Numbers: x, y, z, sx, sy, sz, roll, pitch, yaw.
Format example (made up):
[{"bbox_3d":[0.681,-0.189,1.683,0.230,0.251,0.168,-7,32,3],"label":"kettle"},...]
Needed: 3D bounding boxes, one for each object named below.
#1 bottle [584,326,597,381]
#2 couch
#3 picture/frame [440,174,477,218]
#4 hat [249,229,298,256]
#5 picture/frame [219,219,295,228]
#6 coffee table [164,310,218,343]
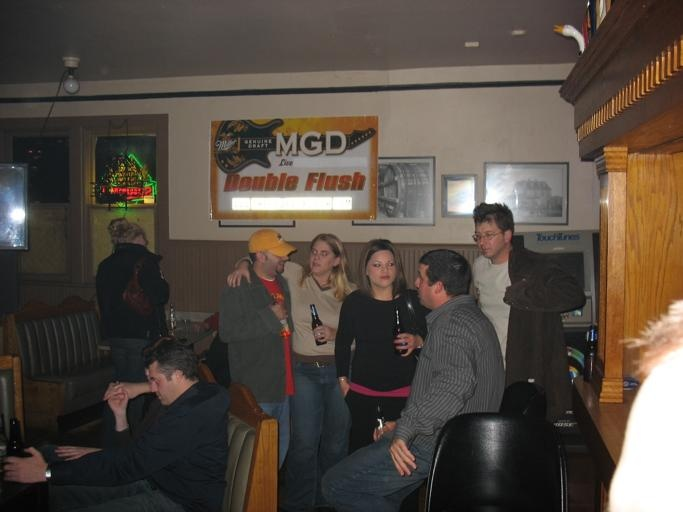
[{"bbox_3d":[1.977,0.786,4.899,0.085,0.345,0.551,-1,1,23],"label":"bottle"},{"bbox_3d":[-2.809,1.133,6.174,0.529,0.998,1.312,0,4,7],"label":"couch"},{"bbox_3d":[1.290,-0.661,6.745,0.531,0.669,0.044,1,1,5],"label":"picture/frame"},{"bbox_3d":[-0.576,-0.108,5.104,0.293,0.155,0.214,1,7,1],"label":"hat"},{"bbox_3d":[-0.987,-0.370,7.169,0.935,0.072,0.053,-1,1,13],"label":"picture/frame"},{"bbox_3d":[-1.560,0.765,6.468,0.441,0.124,0.503,2,4,8],"label":"coffee table"}]
